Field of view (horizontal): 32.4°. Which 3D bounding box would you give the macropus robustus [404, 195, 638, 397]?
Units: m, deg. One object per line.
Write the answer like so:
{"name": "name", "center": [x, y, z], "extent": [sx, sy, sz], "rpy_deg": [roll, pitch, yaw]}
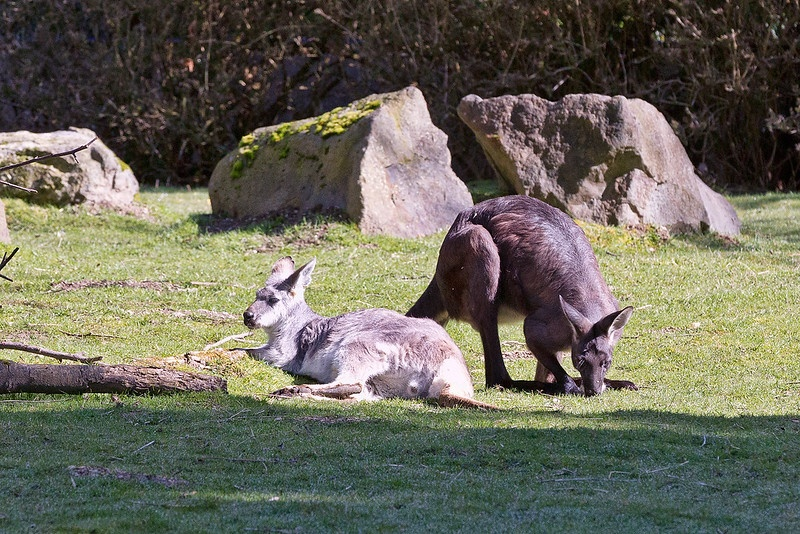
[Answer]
{"name": "macropus robustus", "center": [1.571, 0.353, 21.645], "extent": [1.893, 2.898, 5.632], "rpy_deg": [-5, 15, -35]}

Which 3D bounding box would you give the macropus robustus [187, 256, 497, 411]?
{"name": "macropus robustus", "center": [-0.409, 1.048, 20.613], "extent": [4.190, 2.156, 1.478], "rpy_deg": [6, -7, 22]}
